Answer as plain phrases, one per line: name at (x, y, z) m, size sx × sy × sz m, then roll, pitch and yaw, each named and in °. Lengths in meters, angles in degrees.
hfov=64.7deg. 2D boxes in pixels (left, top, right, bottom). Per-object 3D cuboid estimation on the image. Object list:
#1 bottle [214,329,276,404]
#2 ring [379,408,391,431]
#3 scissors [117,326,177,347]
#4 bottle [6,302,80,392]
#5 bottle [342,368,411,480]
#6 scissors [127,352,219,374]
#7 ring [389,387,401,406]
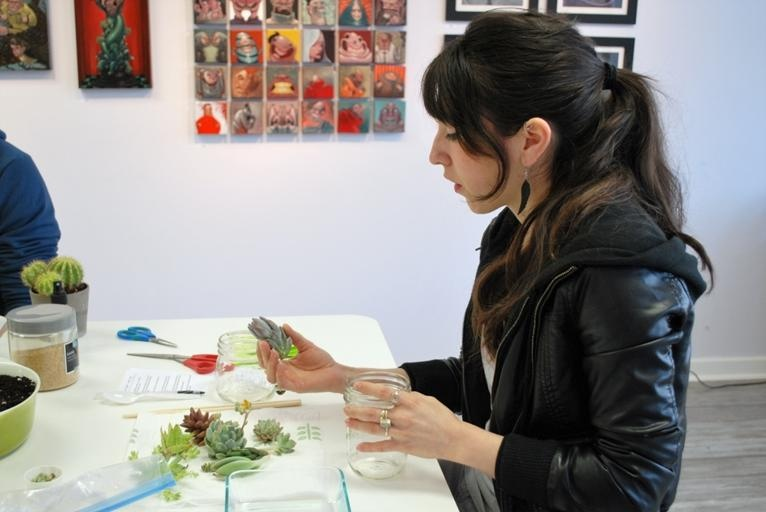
bottle at (-0.383, 0.307, 1.757) m, size 0.182 × 0.169 × 0.180 m, roll 0°, pitch 8°, yaw 1°
ring at (0.004, 0.393, 1.451) m, size 0.027 × 0.053 × 0.016 m, roll 0°, pitch 16°, yaw 0°
scissors at (-0.768, 0.260, 1.972) m, size 0.167 × 0.029 × 0.086 m, roll 10°, pitch 8°, yaw 18°
bottle at (-0.931, 0.247, 1.782) m, size 0.244 × 0.248 × 0.186 m, roll 6°, pitch 12°, yaw 27°
bottle at (-0.015, 0.412, 1.490) m, size 0.157 × 0.224 × 0.142 m, roll 0°, pitch 15°, yaw 0°
scissors at (-0.631, 0.313, 1.832) m, size 0.251 × 0.027 × 0.093 m, roll 7°, pitch 18°, yaw -1°
ring at (0.031, 0.341, 1.469) m, size 0.021 × 0.036 × 0.030 m, roll 6°, pitch 17°, yaw 23°
